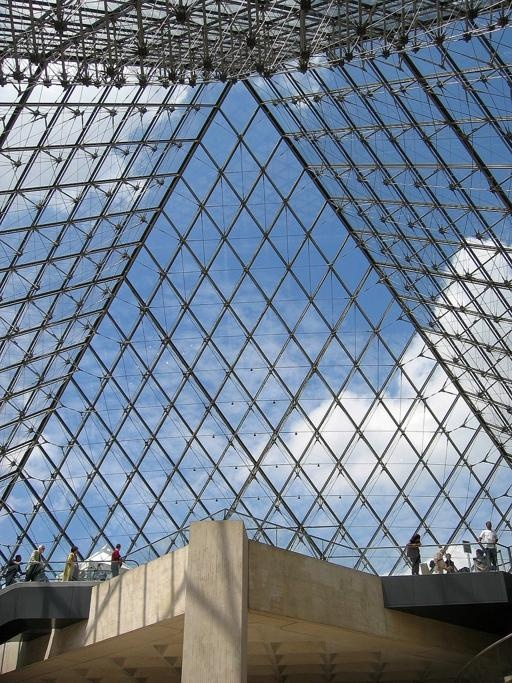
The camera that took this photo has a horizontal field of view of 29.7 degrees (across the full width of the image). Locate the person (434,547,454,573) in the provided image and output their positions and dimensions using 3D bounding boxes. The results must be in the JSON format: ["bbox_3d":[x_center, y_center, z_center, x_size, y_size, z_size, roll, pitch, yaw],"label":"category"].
[{"bbox_3d":[5.483,6.217,28.107,0.556,0.958,0.444,0,-77,13],"label":"person"}]
